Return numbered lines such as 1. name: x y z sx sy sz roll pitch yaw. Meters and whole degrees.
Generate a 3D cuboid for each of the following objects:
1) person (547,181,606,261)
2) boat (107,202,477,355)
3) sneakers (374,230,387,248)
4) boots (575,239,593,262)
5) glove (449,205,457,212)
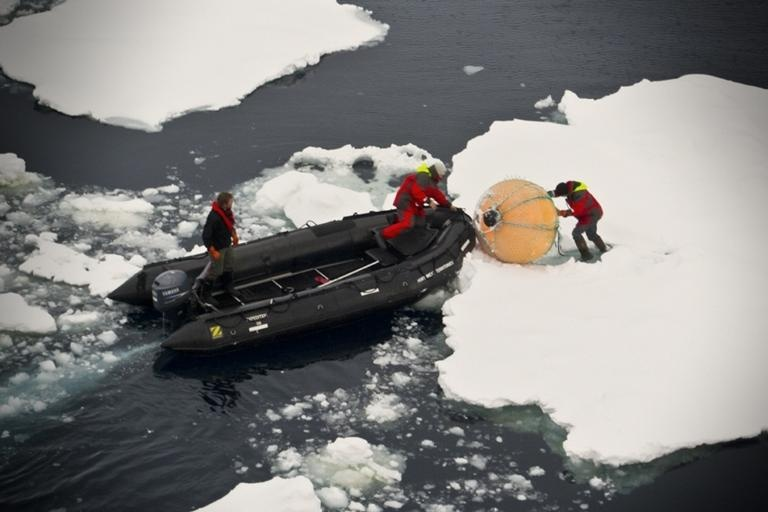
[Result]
1. person: 3.695 -0.635 18.561 0.725 1.447 1.189 -27 50 -18
2. boat: -1.221 1.044 18.203 5.940 1.317 2.573 -12 43 -15
3. sneakers: -0.047 -0.319 18.212 0.199 0.324 0.111 -19 -4 0
4. boots: 3.760 -0.126 18.516 0.263 0.444 0.155 -28 2 19
5. glove: 1.330 -0.910 18.685 0.069 0.069 0.181 -12 24 -18
